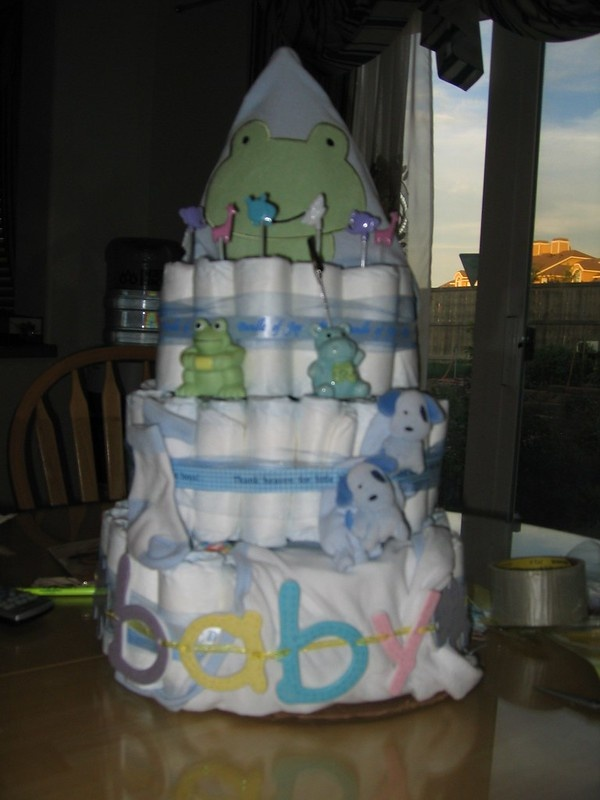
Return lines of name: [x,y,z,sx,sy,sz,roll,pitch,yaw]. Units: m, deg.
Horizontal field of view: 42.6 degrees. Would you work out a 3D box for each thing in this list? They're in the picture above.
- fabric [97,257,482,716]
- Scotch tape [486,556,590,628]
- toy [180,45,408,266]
fabric: [-0.040,0.071,0.860,0.434,0.388,0.418,0,-4,28]
Scotch tape: [0.252,0.200,0.809,0.097,0.058,0.088,-3,-2,13]
toy: [-0.015,-0.257,0.871,0.252,0.228,0.067,1,-12,-5]
